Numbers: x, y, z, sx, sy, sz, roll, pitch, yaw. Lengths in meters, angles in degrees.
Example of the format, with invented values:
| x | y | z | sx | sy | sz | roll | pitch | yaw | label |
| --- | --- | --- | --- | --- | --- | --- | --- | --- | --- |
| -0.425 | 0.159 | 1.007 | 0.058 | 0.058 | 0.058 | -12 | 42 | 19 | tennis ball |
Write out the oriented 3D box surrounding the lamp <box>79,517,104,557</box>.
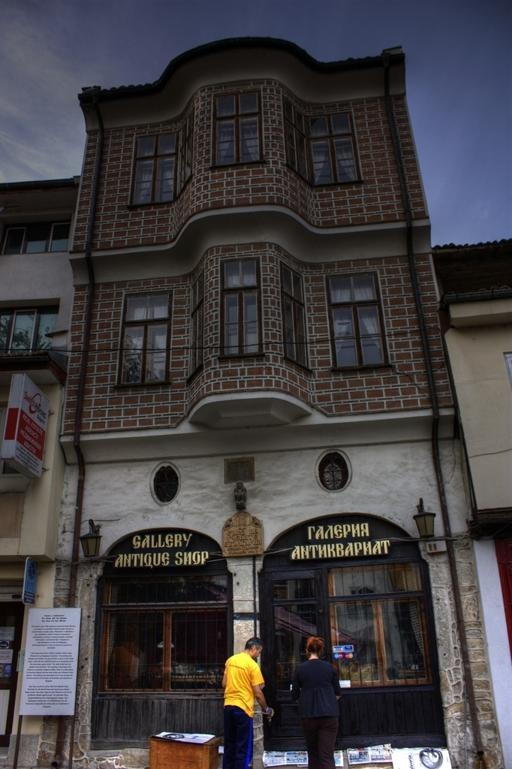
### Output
| x | y | z | sx | sy | sz | roll | pitch | yaw | label |
| --- | --- | --- | --- | --- | --- | --- | --- | --- | --- |
| -2.618 | 2.424 | 9.343 | 0.326 | 0.626 | 0.395 | 5 | -25 | -16 | lamp |

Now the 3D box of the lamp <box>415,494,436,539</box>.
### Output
| x | y | z | sx | sy | sz | roll | pitch | yaw | label |
| --- | --- | --- | --- | --- | --- | --- | --- | --- | --- |
| 2.448 | 1.933 | 8.583 | 0.308 | 0.626 | 0.301 | -9 | -24 | 17 | lamp |
